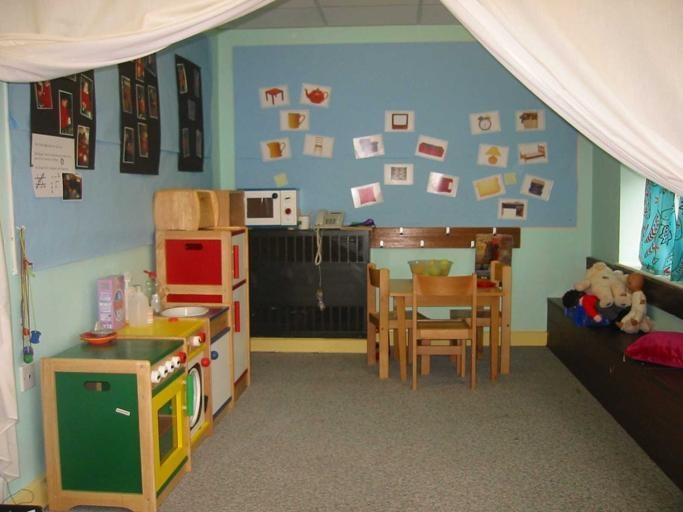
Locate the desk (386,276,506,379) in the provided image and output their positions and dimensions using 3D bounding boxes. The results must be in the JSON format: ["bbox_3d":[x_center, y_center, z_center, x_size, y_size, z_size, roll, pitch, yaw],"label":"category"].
[{"bbox_3d":[0.967,0.484,4.690,0.797,0.803,1.047,-1,6,5],"label":"desk"}]

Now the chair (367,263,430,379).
[{"bbox_3d":[0.510,0.486,4.677,0.541,0.811,0.566,-12,4,-22],"label":"chair"}]

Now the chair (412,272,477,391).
[{"bbox_3d":[0.857,0.598,4.483,0.565,0.934,0.629,1,-3,-2],"label":"chair"}]

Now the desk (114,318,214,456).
[{"bbox_3d":[-0.925,0.727,3.241,0.689,0.976,0.528,-1,5,-1],"label":"desk"}]

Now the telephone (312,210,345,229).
[{"bbox_3d":[-0.120,-0.368,5.169,0.275,0.155,0.373,-1,10,-2],"label":"telephone"}]

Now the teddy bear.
[{"bbox_3d":[2.171,0.324,4.297,0.414,0.243,0.562,-5,21,8],"label":"teddy bear"}]
